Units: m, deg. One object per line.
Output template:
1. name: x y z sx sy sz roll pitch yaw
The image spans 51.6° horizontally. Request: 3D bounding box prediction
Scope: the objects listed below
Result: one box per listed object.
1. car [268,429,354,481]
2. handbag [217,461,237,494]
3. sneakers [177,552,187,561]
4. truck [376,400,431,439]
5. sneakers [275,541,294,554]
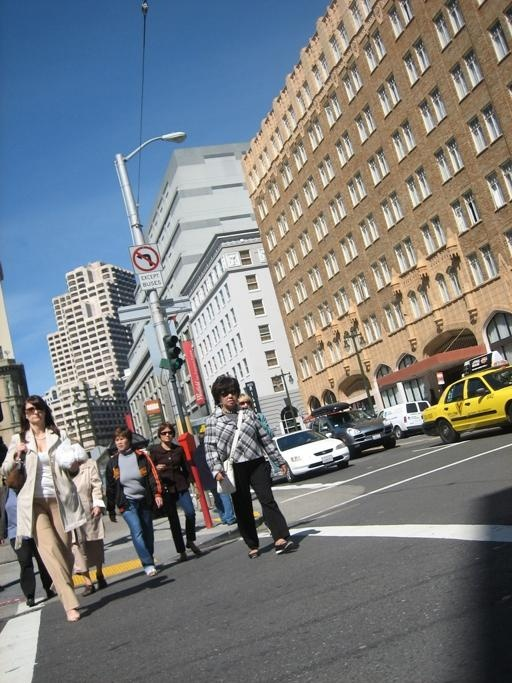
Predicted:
1. car: 2.032 3.952 18.984 2.168 1.537 4.731 -4 -12 -20
2. handbag: -0.322 1.508 5.917 0.128 0.324 0.264 21 -35 -30
3. sneakers: -1.119 3.284 8.115 0.119 0.150 0.215 0 -19 1
4. truck: 8.352 4.062 29.613 2.463 1.975 4.034 -1 -2 -18
5. sneakers: 0.299 2.254 5.808 0.091 0.100 0.249 -4 -20 -39
